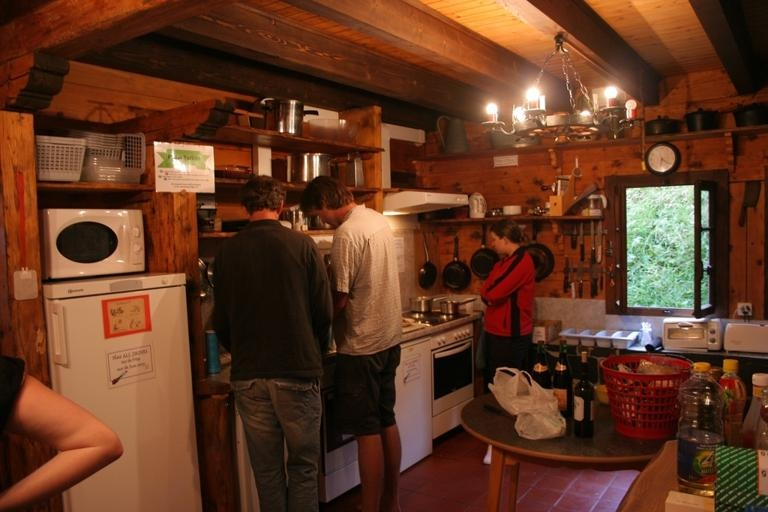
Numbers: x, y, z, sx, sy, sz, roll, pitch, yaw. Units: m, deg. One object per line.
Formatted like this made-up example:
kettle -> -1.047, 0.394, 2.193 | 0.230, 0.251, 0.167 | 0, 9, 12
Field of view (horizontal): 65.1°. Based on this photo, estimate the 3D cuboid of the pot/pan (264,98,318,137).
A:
pot/pan -> -0.684, -1.020, 4.343 | 0.441, 0.266, 0.265 | 2, 10, -11

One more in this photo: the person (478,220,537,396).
person -> 1.067, 0.421, 5.188 | 0.465, 1.441, 0.370 | -1, 3, 15

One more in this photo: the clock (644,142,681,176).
clock -> 2.468, -0.859, 5.287 | 0.301, 0.281, 0.050 | -9, -8, 36

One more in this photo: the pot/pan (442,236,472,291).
pot/pan -> 0.753, 0.095, 6.234 | 0.331, 0.505, 0.077 | -1, -1, 37

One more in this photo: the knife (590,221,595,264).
knife -> 1.952, -0.161, 5.607 | 0.036, 0.262, 0.029 | 2, -3, 28

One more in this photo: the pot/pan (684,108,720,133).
pot/pan -> 2.742, -1.155, 5.181 | 0.231, 0.154, 0.243 | -2, 2, 9

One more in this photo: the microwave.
microwave -> -1.753, -0.079, 3.512 | 0.362, 0.402, 0.621 | 1, 3, 30

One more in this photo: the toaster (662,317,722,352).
toaster -> 2.590, 0.641, 5.014 | 0.426, 0.243, 0.296 | -2, -6, 27

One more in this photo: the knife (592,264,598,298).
knife -> 1.978, 0.272, 5.625 | 0.069, 0.236, 0.029 | -2, 3, 15

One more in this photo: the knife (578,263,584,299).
knife -> 1.863, 0.250, 5.683 | 0.056, 0.287, 0.022 | -2, 3, 9

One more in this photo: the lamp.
lamp -> 1.392, -1.286, 4.523 | 0.940, 0.547, 0.788 | -1, -1, -33

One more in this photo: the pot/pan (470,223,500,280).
pot/pan -> 1.021, -0.003, 6.095 | 0.304, 0.475, 0.075 | -2, 0, 43

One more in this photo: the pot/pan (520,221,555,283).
pot/pan -> 1.505, -0.027, 5.823 | 0.398, 0.537, 0.105 | -16, -5, 44

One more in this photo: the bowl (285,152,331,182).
bowl -> -0.558, -0.666, 4.485 | 0.285, 0.156, 0.244 | 0, 2, 8

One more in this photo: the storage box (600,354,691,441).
storage box -> 1.281, 0.685, 3.023 | 0.434, 0.312, 0.421 | -3, 4, 4

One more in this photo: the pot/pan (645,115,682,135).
pot/pan -> 2.466, -1.147, 5.300 | 0.308, 0.172, 0.163 | -1, 3, 20

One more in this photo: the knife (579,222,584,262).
knife -> 1.862, -0.124, 5.657 | 0.049, 0.348, 0.039 | -1, 3, 23

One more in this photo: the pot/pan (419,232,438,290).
pot/pan -> 0.455, 0.054, 6.161 | 0.078, 0.591, 0.258 | -1, 3, 33
